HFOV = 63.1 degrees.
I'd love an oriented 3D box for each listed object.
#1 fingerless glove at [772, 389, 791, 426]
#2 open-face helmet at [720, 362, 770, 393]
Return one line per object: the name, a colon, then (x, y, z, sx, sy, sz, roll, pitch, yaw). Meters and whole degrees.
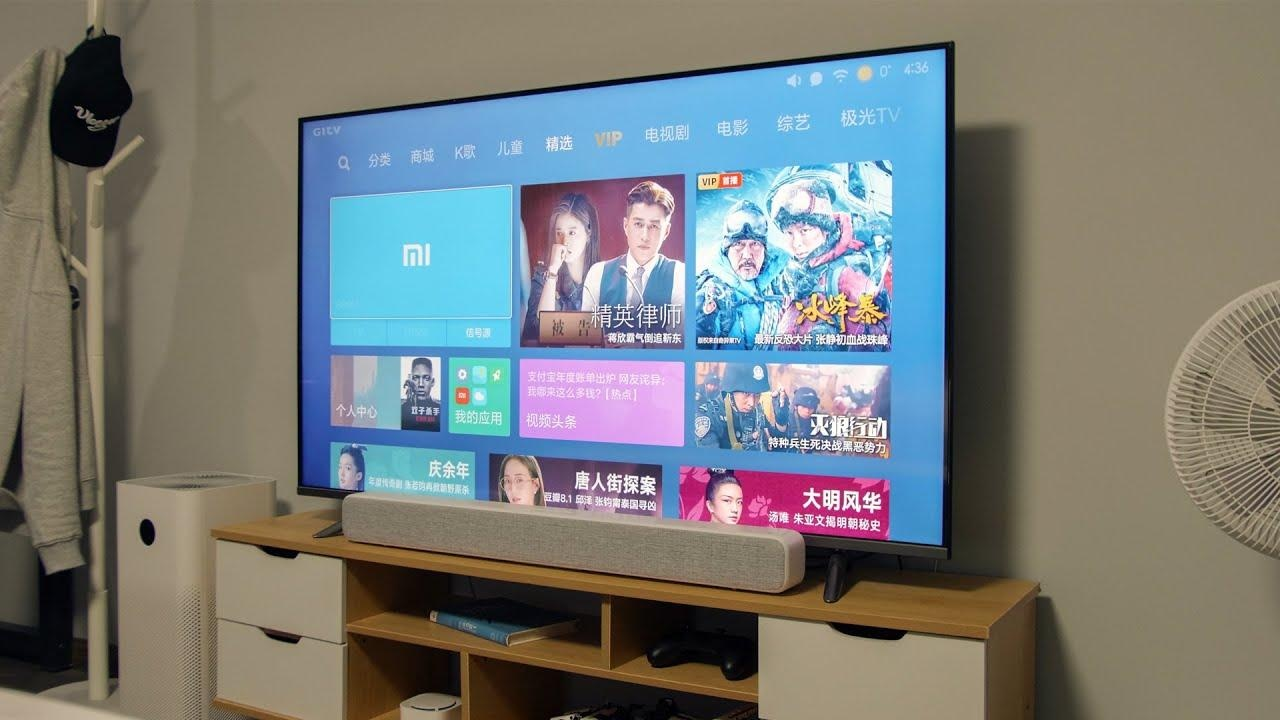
fingerless glove: (0.510, 0.171, 3.752, 0.039, 0.112, 0.085, 0, -5, -31)
open-face helmet: (0.378, 0.062, 3.786, 0.132, 0.098, 0.110, -5, -1, 24)
